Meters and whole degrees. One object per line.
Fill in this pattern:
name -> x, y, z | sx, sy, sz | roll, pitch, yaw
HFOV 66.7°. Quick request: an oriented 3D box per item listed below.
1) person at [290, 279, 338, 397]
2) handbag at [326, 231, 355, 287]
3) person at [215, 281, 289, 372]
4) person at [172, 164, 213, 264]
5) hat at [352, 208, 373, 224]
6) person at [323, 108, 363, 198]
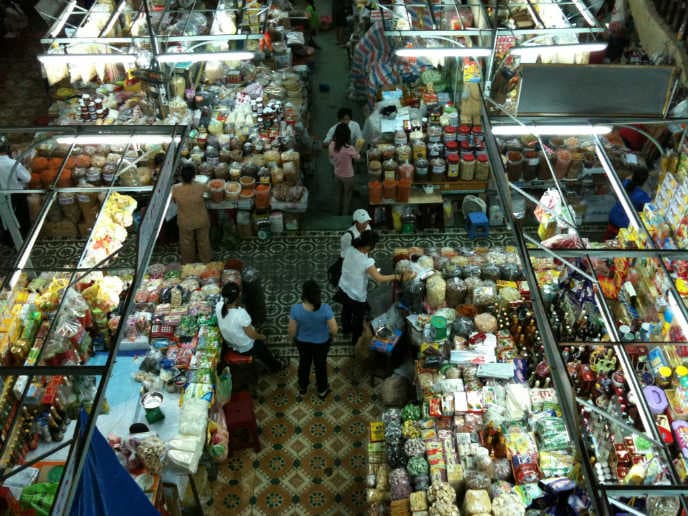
person -> -0.404, 1.050, 6.899 | 0.609, 1.807, 0.485 | 3, 33, 2
handbag -> -0.065, 0.043, 7.799 | 0.289, 0.979, 0.231 | -4, 56, -21
person -> -1.313, 0.980, 7.095 | 0.581, 1.470, 0.848 | 7, 25, 26
person -> -2.508, -0.708, 8.459 | 0.629, 1.907, 0.573 | -5, 44, -16
hat -> 0.237, -0.559, 7.470 | 0.191, 0.130, 0.265 | -17, 31, -24
person -> 0.011, -2.054, 9.613 | 0.793, 1.462, 0.476 | -5, 52, -3
